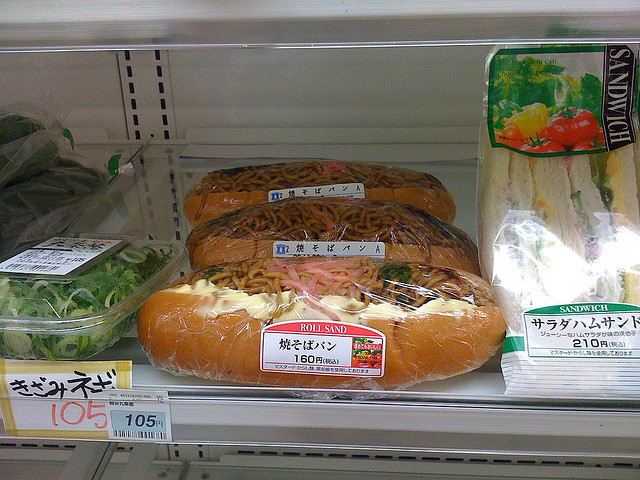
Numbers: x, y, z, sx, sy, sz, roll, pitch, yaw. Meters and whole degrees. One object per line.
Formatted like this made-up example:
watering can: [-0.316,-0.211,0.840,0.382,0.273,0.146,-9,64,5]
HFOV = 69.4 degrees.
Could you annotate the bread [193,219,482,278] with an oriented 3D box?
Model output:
bread: [0.013,0.001,0.785,0.393,0.075,0.247,3,22,13]

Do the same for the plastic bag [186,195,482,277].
plastic bag: [0.021,-0.023,0.815,0.436,0.110,0.187,1,31,0]

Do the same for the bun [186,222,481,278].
bun: [0.012,-0.019,0.779,0.392,0.095,0.161,1,35,1]

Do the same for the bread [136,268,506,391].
bread: [-0.004,0.121,0.749,0.599,0.142,0.263,2,17,1]

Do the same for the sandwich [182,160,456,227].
sandwich: [0.002,-0.116,0.965,0.510,0.123,0.203,-3,27,-2]

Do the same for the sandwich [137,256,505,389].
sandwich: [-0.003,0.127,0.734,0.584,0.140,0.240,0,24,4]

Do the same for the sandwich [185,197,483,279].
sandwich: [0.016,-0.021,0.812,0.442,0.106,0.190,0,27,-1]

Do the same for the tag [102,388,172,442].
tag: [-0.255,0.245,0.643,0.098,0.005,0.072,19,40,-36]

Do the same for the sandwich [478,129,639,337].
sandwich: [0.347,-0.029,0.742,0.300,0.276,0.197,3,14,3]
